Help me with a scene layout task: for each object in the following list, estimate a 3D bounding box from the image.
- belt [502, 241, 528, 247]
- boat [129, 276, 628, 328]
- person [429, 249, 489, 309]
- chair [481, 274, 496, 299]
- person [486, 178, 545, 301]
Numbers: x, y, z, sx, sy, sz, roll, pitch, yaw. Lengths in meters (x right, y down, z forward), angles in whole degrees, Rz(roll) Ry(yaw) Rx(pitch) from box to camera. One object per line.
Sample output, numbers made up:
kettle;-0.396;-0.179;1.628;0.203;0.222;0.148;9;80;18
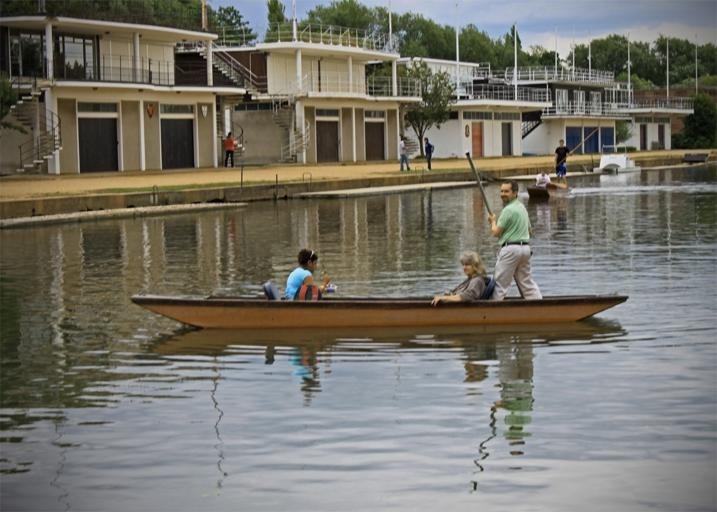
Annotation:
belt;3.188;-0.252;28.043;0.499;0.105;0.142;0;4;8
boat;0.289;1.141;28.432;9.242;0.725;0.542;-1;4;1
person;2.178;0.478;28.653;1.001;0.975;1.308;1;1;-1
chair;2.671;0.647;28.415;0.316;0.440;0.155;6;-6;43
person;3.181;-0.319;28.191;1.032;2.462;0.700;-4;5;-44
